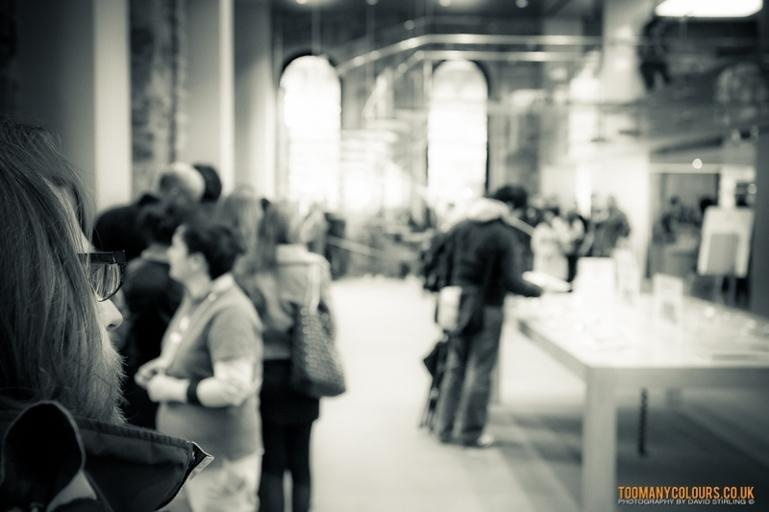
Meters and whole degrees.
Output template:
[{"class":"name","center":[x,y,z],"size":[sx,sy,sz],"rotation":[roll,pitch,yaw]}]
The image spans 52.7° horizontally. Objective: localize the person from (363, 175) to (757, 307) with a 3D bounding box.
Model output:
[{"class":"person","center":[0.802,-0.060,3.374],"size":[1.533,0.485,0.260],"rotation":[1,8,-3]}]

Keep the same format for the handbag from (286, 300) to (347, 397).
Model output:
[{"class":"handbag","center":[-0.265,0.386,3.239],"size":[0.277,0.529,0.313],"rotation":[0,-2,-3]}]

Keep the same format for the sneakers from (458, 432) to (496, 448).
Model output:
[{"class":"sneakers","center":[0.394,0.788,3.370],"size":[0.174,0.076,0.060],"rotation":[5,-6,4]}]

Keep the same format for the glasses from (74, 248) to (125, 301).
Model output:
[{"class":"glasses","center":[-0.803,0.046,2.251],"size":[0.120,0.129,0.042],"rotation":[-1,-4,1]}]
